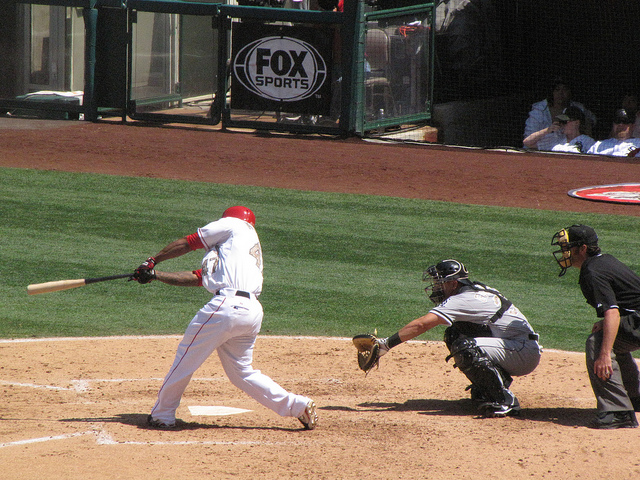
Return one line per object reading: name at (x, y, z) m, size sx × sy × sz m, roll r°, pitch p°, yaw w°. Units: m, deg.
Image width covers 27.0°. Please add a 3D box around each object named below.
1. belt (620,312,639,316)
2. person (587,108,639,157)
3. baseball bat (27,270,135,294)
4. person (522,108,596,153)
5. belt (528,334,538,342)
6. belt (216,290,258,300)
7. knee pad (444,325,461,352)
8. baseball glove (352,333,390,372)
belt at (3.485, 0.816, 14.865) m, size 0.203 × 0.044 × 0.009 m, roll 2°, pitch 6°, yaw 16°
person at (5.461, -1.923, 24.227) m, size 0.880 × 0.819 × 0.711 m, roll 3°, pitch 6°, yaw 20°
baseball bat at (-3.090, 0.523, 17.002) m, size 1.546 × 0.152 × 0.159 m, roll -7°, pitch 26°, yaw 7°
person at (4.606, -2.020, 24.597) m, size 0.685 × 0.683 × 1.881 m, roll -10°, pitch 11°, yaw -42°
belt at (2.477, 1.105, 15.270) m, size 0.123 × 0.080 × 0.050 m, roll -4°, pitch 7°, yaw -38°
belt at (-0.952, 0.584, 14.728) m, size 0.373 × 0.081 × 0.076 m, roll 1°, pitch 6°, yaw 1°
knee pad at (1.553, 1.120, 15.306) m, size 0.227 × 0.226 × 0.200 m, roll 1°, pitch 2°, yaw 23°
baseball glove at (0.513, 1.306, 15.355) m, size 0.305 × 0.479 × 0.239 m, roll -23°, pitch 28°, yaw -26°
